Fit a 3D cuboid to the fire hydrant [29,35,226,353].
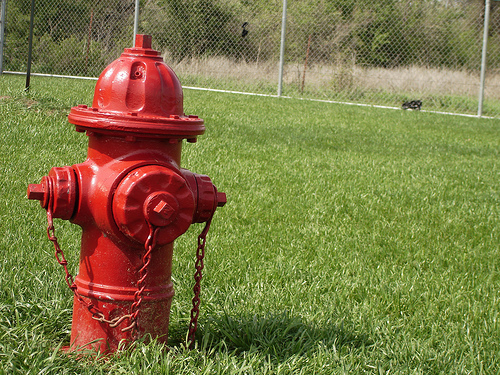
[{"bbox_3d":[-0.868,0.048,5.266,1.162,2.317,0.461,3,6,7],"label":"fire hydrant"}]
